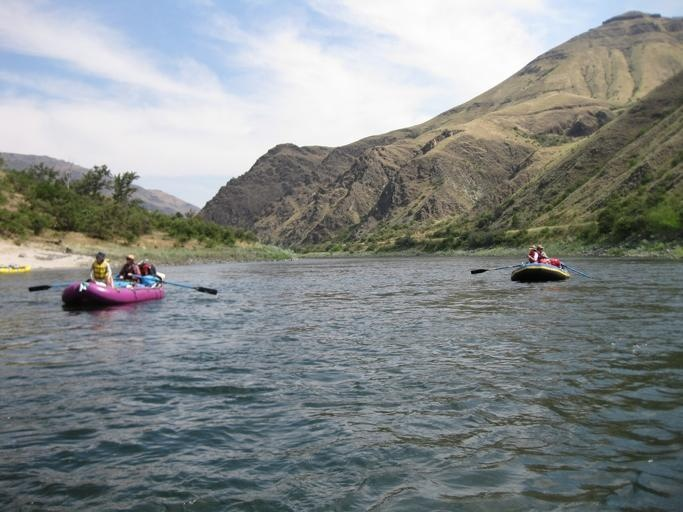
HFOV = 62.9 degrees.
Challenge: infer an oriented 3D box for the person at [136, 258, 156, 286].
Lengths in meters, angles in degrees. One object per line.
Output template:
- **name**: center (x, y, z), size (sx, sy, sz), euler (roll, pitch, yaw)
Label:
- **person**: center (-9.898, 0.904, 28.674), size (1.314, 1.173, 0.564), euler (-8, -12, -15)

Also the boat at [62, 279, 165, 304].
- **boat**: center (-10.647, 1.775, 26.457), size (2.102, 1.174, 5.053), euler (3, -1, 16)
